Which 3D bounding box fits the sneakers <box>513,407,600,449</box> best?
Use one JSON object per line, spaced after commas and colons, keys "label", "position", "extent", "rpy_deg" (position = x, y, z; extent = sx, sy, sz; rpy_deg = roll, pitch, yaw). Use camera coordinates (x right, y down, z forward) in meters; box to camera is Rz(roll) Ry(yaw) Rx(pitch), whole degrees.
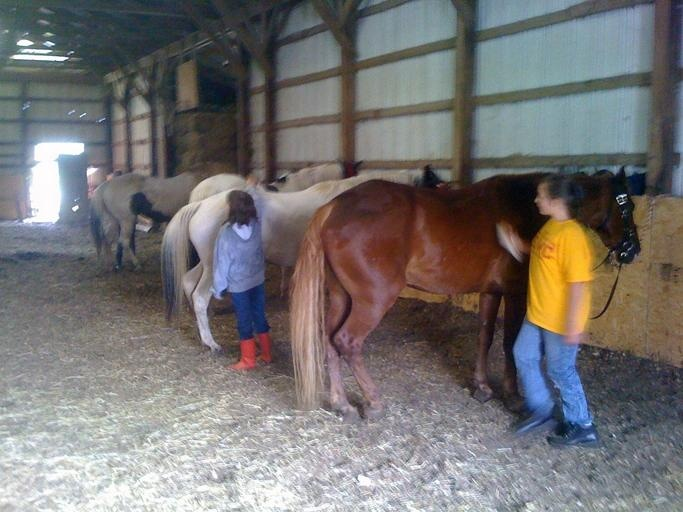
{"label": "sneakers", "position": [1.366, 1.176, 3.655], "extent": [0.571, 0.246, 0.204], "rpy_deg": [9, 13, 13]}

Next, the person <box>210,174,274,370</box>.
{"label": "person", "position": [-0.817, 0.193, 4.607], "extent": [0.455, 1.464, 0.460], "rpy_deg": [2, 10, 8]}

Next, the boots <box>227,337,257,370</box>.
{"label": "boots", "position": [-0.847, 0.815, 4.494], "extent": [0.273, 0.320, 0.161], "rpy_deg": [2, 2, -19]}

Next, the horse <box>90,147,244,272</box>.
{"label": "horse", "position": [-2.956, -0.668, 9.275], "extent": [2.367, 1.545, 0.578], "rpy_deg": [-9, 9, -35]}

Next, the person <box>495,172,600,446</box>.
{"label": "person", "position": [1.426, 0.359, 3.626], "extent": [0.487, 1.744, 0.410], "rpy_deg": [-1, 10, -9]}
